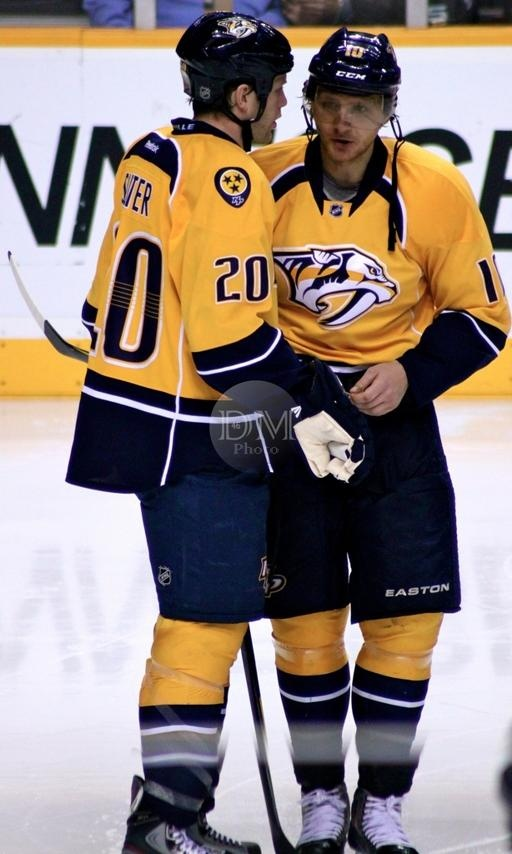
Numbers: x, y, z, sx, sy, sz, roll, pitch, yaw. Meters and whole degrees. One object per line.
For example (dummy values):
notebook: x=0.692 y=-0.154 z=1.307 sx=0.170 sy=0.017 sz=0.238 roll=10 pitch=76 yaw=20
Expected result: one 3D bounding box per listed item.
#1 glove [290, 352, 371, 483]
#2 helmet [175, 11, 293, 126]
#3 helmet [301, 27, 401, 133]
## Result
glove: x=0.107 y=-0.007 z=1.259 sx=0.070 sy=0.169 sz=0.117 roll=5 pitch=45 yaw=51
helmet: x=-0.037 y=-0.500 z=1.289 sx=0.179 sy=0.146 sz=0.136 roll=-8 pitch=28 yaw=-15
helmet: x=0.146 y=-0.517 z=1.396 sx=0.154 sy=0.171 sz=0.173 roll=4 pitch=15 yaw=6
